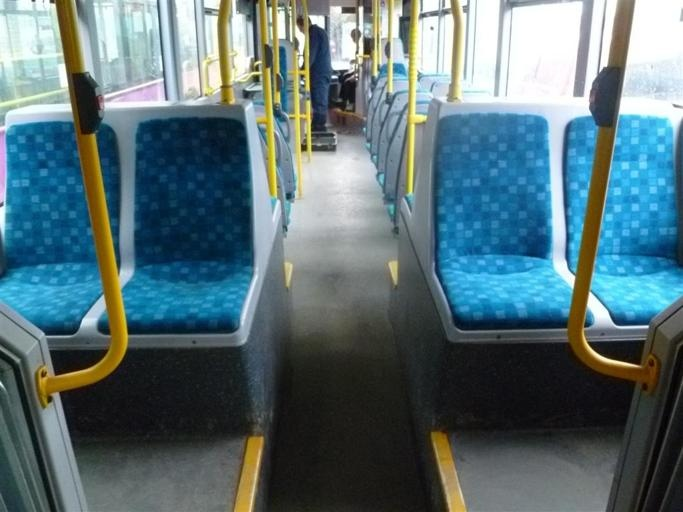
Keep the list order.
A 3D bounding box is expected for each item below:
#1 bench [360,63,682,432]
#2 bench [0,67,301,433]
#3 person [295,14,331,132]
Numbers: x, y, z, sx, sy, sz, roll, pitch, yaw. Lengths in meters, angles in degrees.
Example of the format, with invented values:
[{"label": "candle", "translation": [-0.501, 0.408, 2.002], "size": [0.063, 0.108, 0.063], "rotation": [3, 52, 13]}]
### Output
[{"label": "bench", "translation": [0.929, 0.003, 2.395], "size": [1.258, 1.257, 0.926], "rotation": [-3, 23, -3]}, {"label": "bench", "translation": [-0.919, 0.022, 2.409], "size": [1.224, 1.257, 1.042], "rotation": [-1, 23, 1]}, {"label": "person", "translation": [-0.353, -2.949, 9.162], "size": [0.357, 1.696, 0.525], "rotation": [-3, 22, -2]}]
